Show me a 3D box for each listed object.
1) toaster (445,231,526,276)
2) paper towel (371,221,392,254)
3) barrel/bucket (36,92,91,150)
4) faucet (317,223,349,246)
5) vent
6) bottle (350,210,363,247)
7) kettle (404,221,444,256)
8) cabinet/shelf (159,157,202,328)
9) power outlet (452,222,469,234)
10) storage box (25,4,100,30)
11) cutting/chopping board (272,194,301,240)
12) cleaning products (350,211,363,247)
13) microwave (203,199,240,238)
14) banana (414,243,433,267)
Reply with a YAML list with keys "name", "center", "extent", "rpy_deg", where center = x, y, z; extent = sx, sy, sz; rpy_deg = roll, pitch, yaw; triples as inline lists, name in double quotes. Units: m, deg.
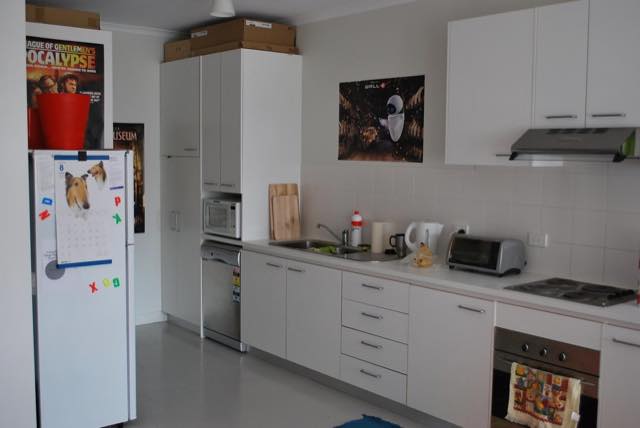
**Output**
- name: "toaster"
  center: [1.295, 0.323, 3.772]
  extent: [0.375, 0.304, 0.493]
  rpy_deg: [-2, 5, -37]
- name: "paper towel"
  center: [0.566, 0.212, 4.479]
  extent: [0.188, 0.275, 0.183]
  rpy_deg: [2, 9, 8]
- name: "barrel/bucket"
  center: [-1.873, -0.641, 3.547]
  extent: [0.401, 0.436, 0.404]
  rpy_deg: [0, 3, 0]
- name: "faucet"
  center: [0.099, 0.192, 4.845]
  extent: [0.271, 0.201, 0.479]
  rpy_deg: [-4, 11, -25]
- name: "vent"
  center: [1.655, -0.460, 3.160]
  extent: [0.748, 0.224, 0.305]
  rpy_deg: [7, 12, 35]
- name: "bottle"
  center: [0.352, 0.143, 4.657]
  extent: [0.116, 0.335, 0.177]
  rpy_deg: [1, 9, 4]
- name: "kettle"
  center: [0.911, 0.179, 4.150]
  extent: [0.402, 0.384, 0.248]
  rpy_deg: [2, 3, 27]
- name: "cabinet/shelf"
  center: [-1.642, 0.280, 5.580]
  extent: [0.218, 1.891, 0.866]
  rpy_deg: [-7, 11, -41]
- name: "power outlet"
  center: [1.150, 0.123, 3.995]
  extent: [0.134, 0.085, 0.161]
  rpy_deg: [2, 1, -2]
- name: "storage box"
  center: [-2.240, -1.712, 4.153]
  extent: [0.555, 0.154, 0.075]
  rpy_deg: [-5, 10, -29]
- name: "cutting/chopping board"
  center: [-0.376, 0.034, 5.037]
  extent: [0.456, 0.653, 0.070]
  rpy_deg: [-1, -1, -38]
- name: "cleaning products"
  center: [0.352, 0.144, 4.654]
  extent: [0.116, 0.335, 0.171]
  rpy_deg: [1, 9, 4]
- name: "microwave"
  center: [-1.048, 0.045, 5.089]
  extent: [0.369, 0.366, 0.556]
  rpy_deg: [0, 3, -41]
- name: "banana"
  center: [0.844, 0.350, 3.886]
  extent: [0.114, 0.186, 0.180]
  rpy_deg: [-2, -16, -21]
